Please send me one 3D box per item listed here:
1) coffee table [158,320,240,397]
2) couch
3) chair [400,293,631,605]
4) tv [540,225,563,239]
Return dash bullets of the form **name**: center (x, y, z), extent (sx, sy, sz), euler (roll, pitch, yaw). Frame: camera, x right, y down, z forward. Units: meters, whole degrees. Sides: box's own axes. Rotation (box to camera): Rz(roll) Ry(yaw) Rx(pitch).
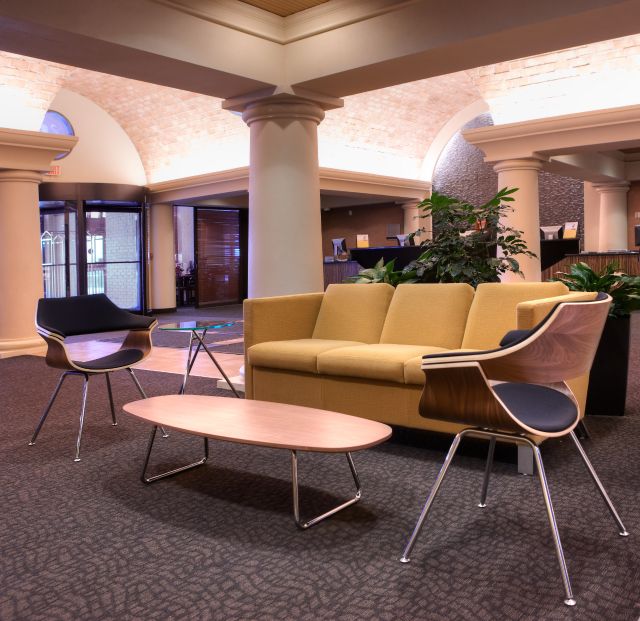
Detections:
- **coffee table**: center (-0.981, 0.381, 4.162), extent (0.687, 0.557, 0.569), euler (5, 9, 14)
- **couch**: center (0.546, 0.251, 3.322), extent (2.084, 0.735, 0.891), euler (3, 14, 44)
- **chair**: center (0.648, 0.397, 1.783), extent (0.561, 0.876, 0.679), euler (1, 5, 34)
- **tv**: center (4.823, -1.649, 10.787), extent (0.433, 0.234, 0.404), euler (3, 9, 33)
